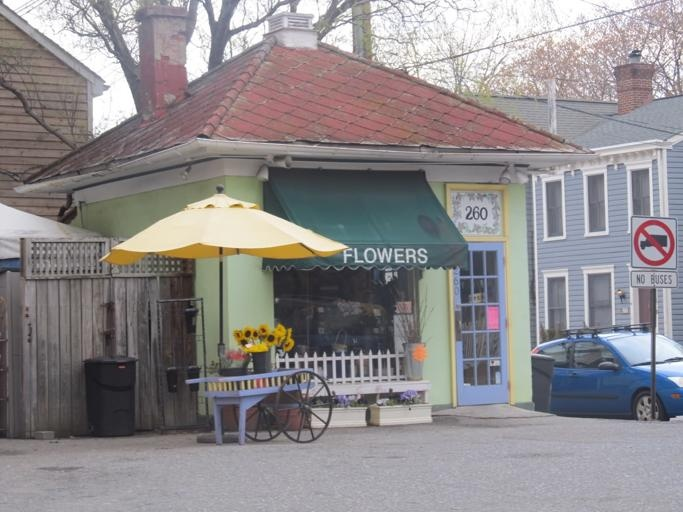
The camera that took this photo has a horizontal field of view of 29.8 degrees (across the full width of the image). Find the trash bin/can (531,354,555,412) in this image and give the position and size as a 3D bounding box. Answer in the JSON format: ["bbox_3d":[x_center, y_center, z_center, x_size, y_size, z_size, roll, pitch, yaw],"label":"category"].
[{"bbox_3d":[3.800,2.417,24.366,0.428,1.091,0.389,-3,-8,9],"label":"trash bin/can"}]

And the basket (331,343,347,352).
[{"bbox_3d":[-0.049,1.633,22.732,0.167,0.118,0.169,3,-12,-4],"label":"basket"}]

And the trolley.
[{"bbox_3d":[-1.344,2.452,20.644,2.067,1.173,1.310,1,-7,-42],"label":"trolley"}]

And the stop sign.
[{"bbox_3d":[5.544,-0.054,22.908,1.094,1.310,0.312,2,-9,-26],"label":"stop sign"}]
